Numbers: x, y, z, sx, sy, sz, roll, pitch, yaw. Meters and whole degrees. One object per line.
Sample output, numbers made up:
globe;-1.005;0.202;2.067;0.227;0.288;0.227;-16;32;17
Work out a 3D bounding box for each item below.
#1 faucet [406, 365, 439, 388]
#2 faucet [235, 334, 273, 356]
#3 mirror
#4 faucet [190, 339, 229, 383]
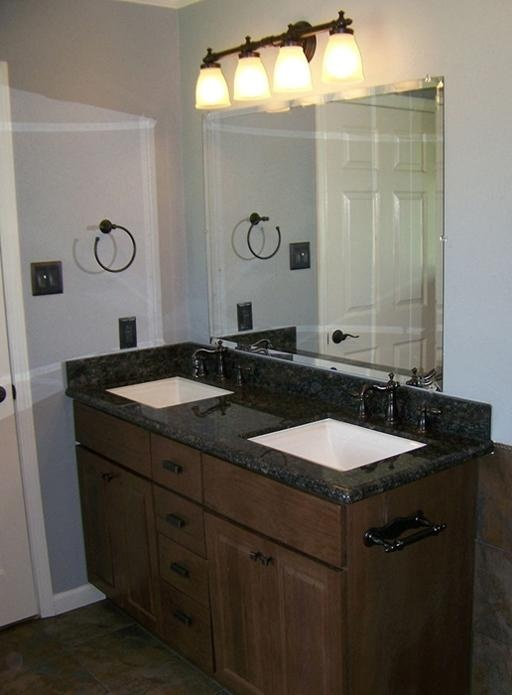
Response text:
faucet;0.451;0.086;1.578;0.032;0.035;0.075;-3;6;-31
faucet;-0.004;-0.013;2.229;0.068;0.044;0.117;-4;7;-31
mirror;0.221;-0.366;1.821;0.057;0.771;1.056;-9;13;-35
faucet;-0.193;0.054;2.359;0.168;0.173;0.116;13;16;41
